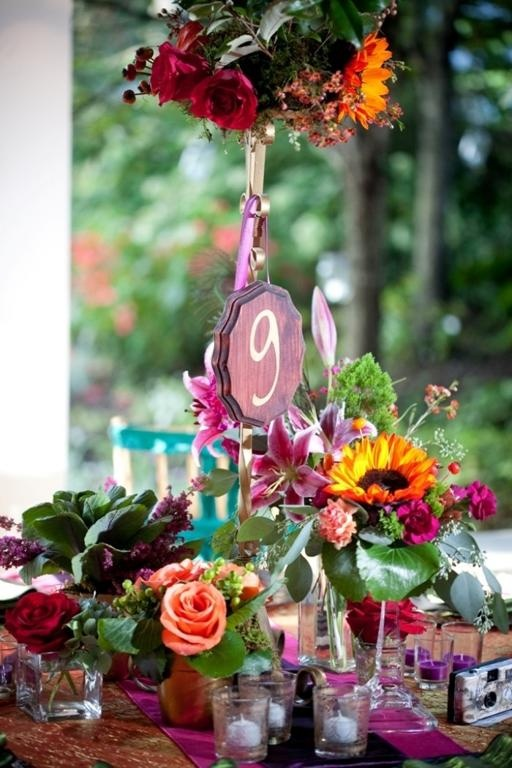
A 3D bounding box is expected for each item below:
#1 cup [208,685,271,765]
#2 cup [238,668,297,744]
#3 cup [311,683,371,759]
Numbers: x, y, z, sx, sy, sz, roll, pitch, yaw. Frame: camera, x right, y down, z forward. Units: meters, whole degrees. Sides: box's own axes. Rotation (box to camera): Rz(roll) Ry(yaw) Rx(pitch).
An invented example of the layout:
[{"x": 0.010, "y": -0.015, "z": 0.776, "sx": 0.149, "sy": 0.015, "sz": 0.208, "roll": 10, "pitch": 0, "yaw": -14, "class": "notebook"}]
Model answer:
[{"x": -0.008, "y": 0.285, "z": 0.674, "sx": 0.067, "sy": 0.063, "sz": 0.064, "roll": 0, "pitch": -2, "yaw": 0, "class": "cup"}, {"x": 0.007, "y": 0.301, "z": 0.724, "sx": 0.058, "sy": 0.054, "sz": 0.055, "roll": 1, "pitch": -13, "yaw": 0, "class": "cup"}, {"x": 0.073, "y": 0.298, "z": 0.686, "sx": 0.055, "sy": 0.066, "sz": 0.046, "roll": -1, "pitch": -3, "yaw": 15, "class": "cup"}]
